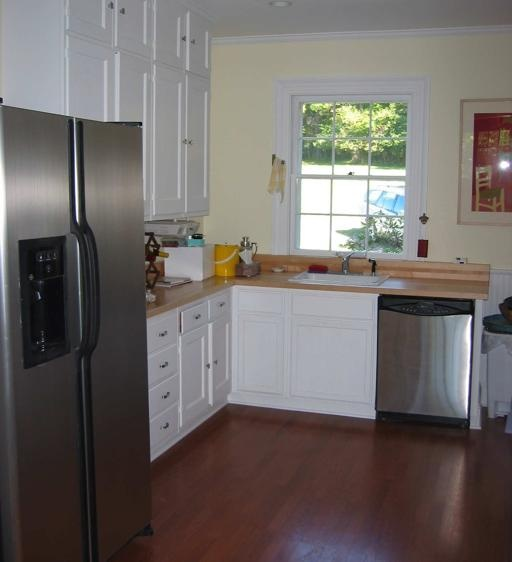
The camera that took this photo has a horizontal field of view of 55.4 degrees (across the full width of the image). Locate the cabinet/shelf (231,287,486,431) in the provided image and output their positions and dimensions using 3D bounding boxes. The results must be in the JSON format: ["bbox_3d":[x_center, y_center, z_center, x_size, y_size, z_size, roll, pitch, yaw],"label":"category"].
[{"bbox_3d":[0.643,0.392,3.596,1.619,1.024,0.514,4,27,18],"label":"cabinet/shelf"}]

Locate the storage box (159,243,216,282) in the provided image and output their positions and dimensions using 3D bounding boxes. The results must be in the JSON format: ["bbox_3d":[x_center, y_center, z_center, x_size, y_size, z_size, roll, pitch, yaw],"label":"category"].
[{"bbox_3d":[-0.506,-0.164,3.748,0.444,0.282,0.440,-1,6,-39],"label":"storage box"}]

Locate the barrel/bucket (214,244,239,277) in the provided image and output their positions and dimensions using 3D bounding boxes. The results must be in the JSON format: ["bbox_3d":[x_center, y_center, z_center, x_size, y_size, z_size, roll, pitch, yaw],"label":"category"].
[{"bbox_3d":[-0.206,-0.177,3.762,0.218,0.231,0.213,1,8,0],"label":"barrel/bucket"}]
